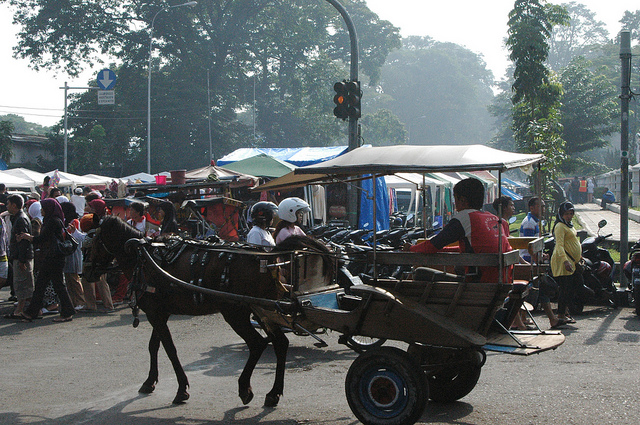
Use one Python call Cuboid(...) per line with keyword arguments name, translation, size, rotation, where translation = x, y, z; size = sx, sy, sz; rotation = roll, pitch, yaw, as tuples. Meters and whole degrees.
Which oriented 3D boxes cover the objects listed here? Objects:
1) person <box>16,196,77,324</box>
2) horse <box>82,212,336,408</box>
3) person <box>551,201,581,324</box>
Cuboid(name="person", translation=(-7.046, 1.272, 25.639), size=(1.311, 3.255, 0.595), rotation=(-1, 2, -13))
Cuboid(name="horse", translation=(-2.665, 2.198, 22.347), size=(5.383, 4.290, 1.434), rotation=(0, 2, 18))
Cuboid(name="person", translation=(6.306, 1.290, 25.369), size=(0.677, 3.123, 0.983), rotation=(1, 2, 23))
